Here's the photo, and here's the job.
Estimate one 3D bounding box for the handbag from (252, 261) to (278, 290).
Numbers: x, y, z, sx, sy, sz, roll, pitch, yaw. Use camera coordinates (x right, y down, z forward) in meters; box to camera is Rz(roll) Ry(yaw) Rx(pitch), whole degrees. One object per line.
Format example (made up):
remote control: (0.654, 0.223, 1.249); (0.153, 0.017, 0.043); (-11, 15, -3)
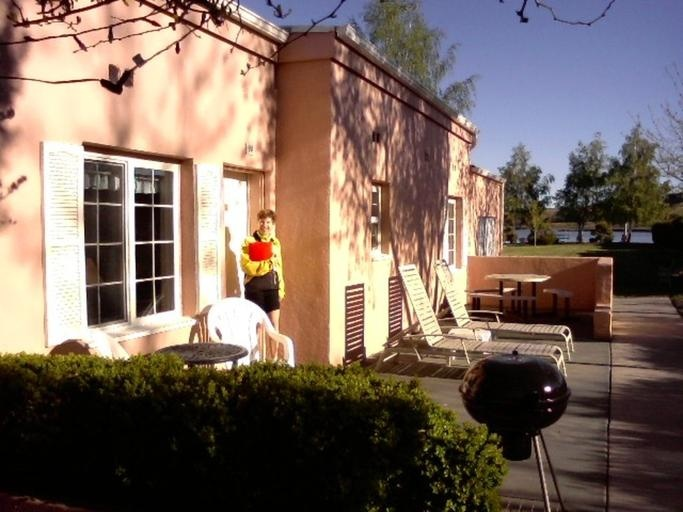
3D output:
handbag: (-0.926, 0.257, 6.940); (0.217, 0.286, 0.233); (-3, 4, -26)

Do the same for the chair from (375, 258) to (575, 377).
chair: (1.746, 0.878, 8.191); (2.658, 1.497, 2.082); (-2, -1, 38)
